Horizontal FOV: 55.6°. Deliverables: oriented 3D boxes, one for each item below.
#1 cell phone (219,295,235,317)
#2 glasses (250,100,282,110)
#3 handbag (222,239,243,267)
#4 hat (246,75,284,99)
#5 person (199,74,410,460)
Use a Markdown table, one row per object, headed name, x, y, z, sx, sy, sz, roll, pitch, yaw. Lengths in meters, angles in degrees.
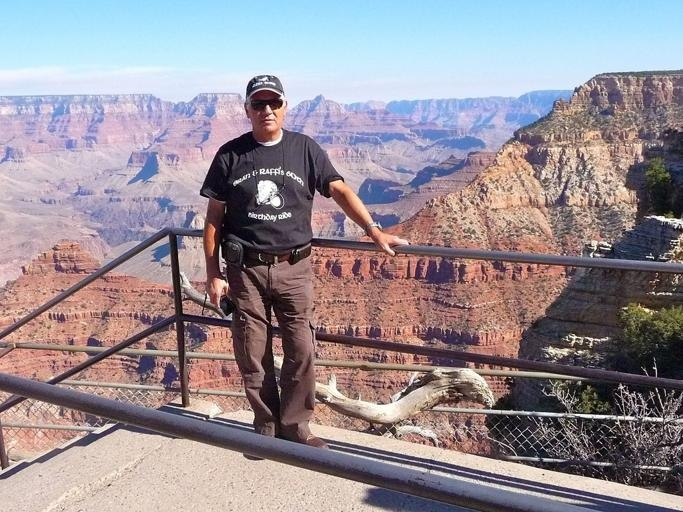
| name | x | y | z | sx | sy | sz | roll | pitch | yaw |
| --- | --- | --- | --- | --- | --- | --- | --- | --- | --- |
| cell phone | -0.678 | 0.305 | 3.890 | 0.090 | 0.126 | 0.110 | -5 | 15 | -18 |
| glasses | -0.440 | -0.907 | 3.877 | 0.188 | 0.067 | 0.050 | -1 | 14 | -6 |
| handbag | -0.646 | -0.021 | 3.886 | 0.161 | 0.130 | 0.089 | 13 | 20 | 35 |
| hat | -0.460 | -1.020 | 3.903 | 0.219 | 0.135 | 0.106 | 0 | 14 | -2 |
| person | -0.362 | 0.011 | 3.985 | 0.969 | 2.183 | 0.718 | 0 | 15 | 0 |
